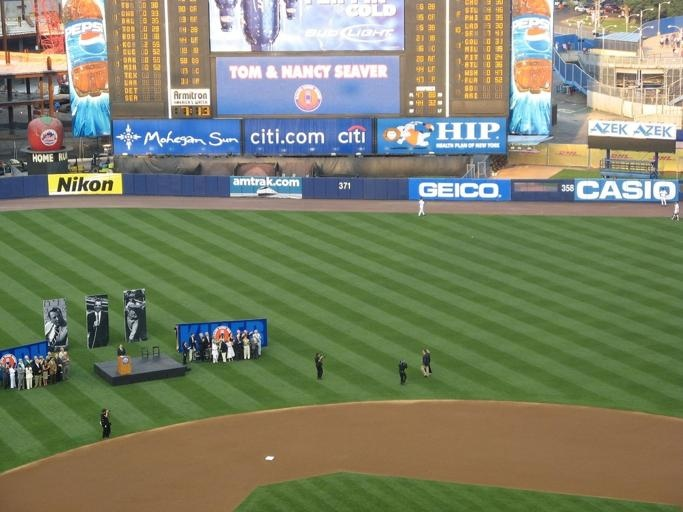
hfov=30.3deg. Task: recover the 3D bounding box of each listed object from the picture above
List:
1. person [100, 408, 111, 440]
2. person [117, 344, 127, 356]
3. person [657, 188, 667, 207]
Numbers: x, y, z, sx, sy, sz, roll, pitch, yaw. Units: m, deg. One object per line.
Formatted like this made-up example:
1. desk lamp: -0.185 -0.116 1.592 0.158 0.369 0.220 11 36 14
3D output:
1. person: -12.442 8.725 66.550 0.522 1.504 1.125 -3 13 -12
2. person: -12.356 5.354 72.198 0.800 0.731 0.749 1 -3 -21
3. person: 25.239 -4.714 98.662 0.606 1.179 0.904 3 13 13
